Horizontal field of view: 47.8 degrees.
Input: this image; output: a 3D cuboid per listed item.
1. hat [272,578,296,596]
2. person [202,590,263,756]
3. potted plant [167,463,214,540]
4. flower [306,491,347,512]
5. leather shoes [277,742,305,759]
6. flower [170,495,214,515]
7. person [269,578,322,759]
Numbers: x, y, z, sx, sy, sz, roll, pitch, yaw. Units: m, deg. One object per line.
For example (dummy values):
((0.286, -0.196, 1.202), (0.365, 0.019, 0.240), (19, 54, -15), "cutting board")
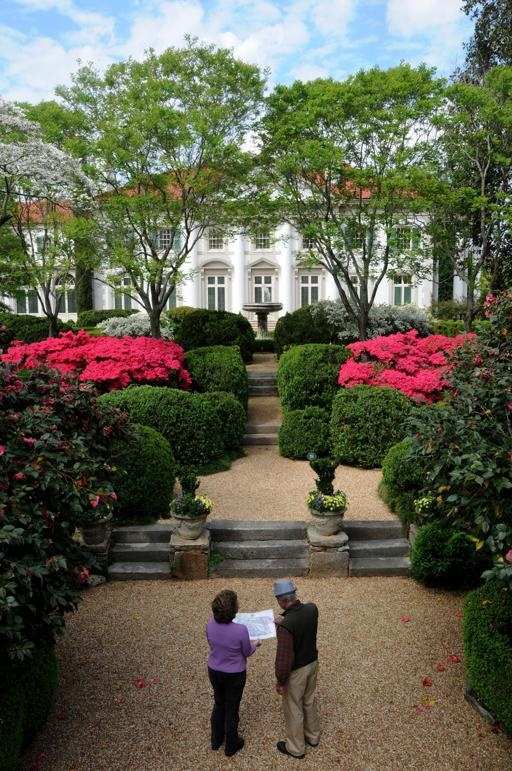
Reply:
((0.188, 1.325, 3.830), (0.127, 0.092, 0.176), (-1, 11, 4), "hat")
((-0.149, 1.918, 3.856), (0.334, 1.242, 0.317), (-2, 11, -8), "person")
((-0.761, 1.355, 6.702), (0.534, 0.796, 0.476), (-6, -8, 20), "potted plant")
((0.825, 1.349, 6.731), (0.423, 0.199, 0.295), (0, 11, 2), "flower")
((0.246, 2.496, 3.973), (0.073, 0.069, 0.169), (-4, 17, -43), "leather shoes")
((-0.727, 1.332, 6.503), (0.293, 0.190, 0.303), (0, 4, -19), "flower")
((0.278, 1.889, 3.847), (0.293, 1.308, 0.396), (0, 10, 6), "person")
